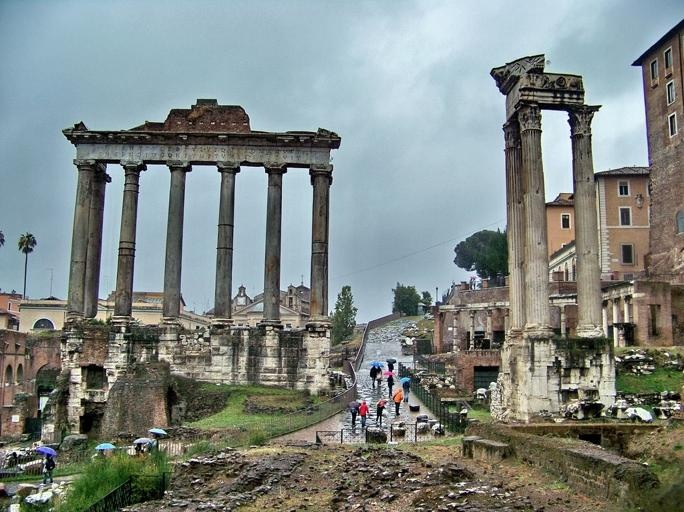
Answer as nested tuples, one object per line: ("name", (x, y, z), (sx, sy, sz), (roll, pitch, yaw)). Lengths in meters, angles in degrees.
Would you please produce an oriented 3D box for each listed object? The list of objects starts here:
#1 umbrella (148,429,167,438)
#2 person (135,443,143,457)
("umbrella", (-8.234, 7.907, 33.152), (0.551, 0.193, 0.574), (4, -10, 12))
("person", (-8.501, 8.120, 31.177), (0.346, 0.463, 0.991), (-4, -1, -16))
